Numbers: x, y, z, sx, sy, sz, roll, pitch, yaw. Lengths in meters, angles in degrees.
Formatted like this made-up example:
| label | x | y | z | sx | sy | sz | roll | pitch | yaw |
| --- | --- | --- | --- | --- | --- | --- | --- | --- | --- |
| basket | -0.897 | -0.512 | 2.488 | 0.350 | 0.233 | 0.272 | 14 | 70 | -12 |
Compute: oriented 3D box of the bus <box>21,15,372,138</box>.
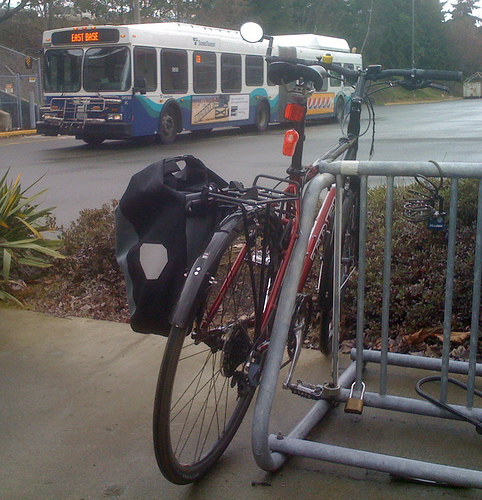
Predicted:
| label | x | y | z | sx | sy | sz | roll | pitch | yaw |
| --- | --- | --- | --- | --- | --- | --- | --- | --- | --- |
| bus | -0.816 | -6.934 | 21.658 | 3.956 | 4.036 | 15.018 | 13 | 21 | 30 |

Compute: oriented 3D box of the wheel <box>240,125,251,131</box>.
| label | x | y | z | sx | sy | sz | roll | pitch | yaw |
| --- | --- | --- | --- | --- | --- | --- | --- | --- | --- |
| wheel | 0.183 | -5.374 | 23.532 | 0.493 | 0.120 | 0.524 | -1 | 5 | 0 |

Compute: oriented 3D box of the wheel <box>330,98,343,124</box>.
| label | x | y | z | sx | sy | sz | roll | pitch | yaw |
| --- | --- | --- | --- | --- | --- | --- | --- | --- | --- |
| wheel | 4.609 | -6.789 | 25.990 | 0.614 | 1.286 | 1.772 | 0 | 10 | 9 |

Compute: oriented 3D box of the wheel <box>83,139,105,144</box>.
| label | x | y | z | sx | sy | sz | roll | pitch | yaw |
| --- | --- | --- | --- | --- | --- | --- | --- | --- | --- |
| wheel | -4.912 | -3.654 | 17.912 | 0.755 | 0.154 | 0.364 | 2 | 11 | 15 |

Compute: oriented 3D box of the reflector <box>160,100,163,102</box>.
| label | x | y | z | sx | sy | sz | roll | pitch | yaw |
| --- | --- | --- | --- | --- | --- | --- | --- | --- | --- |
| reflector | -2.515 | -4.694 | 16.760 | 0.101 | 0.070 | 0.100 | 1 | 5 | 1 |

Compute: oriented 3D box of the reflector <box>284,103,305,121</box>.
| label | x | y | z | sx | sy | sz | roll | pitch | yaw |
| --- | --- | --- | --- | --- | --- | --- | --- | --- | --- |
| reflector | 0.265 | -0.702 | 2.739 | 0.095 | 0.090 | 0.093 | 7 | 12 | 19 |

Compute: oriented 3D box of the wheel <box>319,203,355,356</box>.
| label | x | y | z | sx | sy | sz | roll | pitch | yaw |
| --- | --- | --- | --- | --- | --- | --- | --- | --- | --- |
| wheel | 0.459 | 0.186 | 3.359 | 0.368 | 0.809 | 0.451 | 5 | 15 | 10 |

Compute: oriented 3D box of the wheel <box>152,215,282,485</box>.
| label | x | y | z | sx | sy | sz | roll | pitch | yaw |
| --- | --- | --- | --- | --- | --- | --- | --- | --- | --- |
| wheel | -0.085 | 0.407 | 2.195 | 0.539 | 0.832 | 0.852 | 12 | 21 | 15 |

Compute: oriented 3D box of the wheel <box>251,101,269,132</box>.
| label | x | y | z | sx | sy | sz | roll | pitch | yaw |
| --- | --- | --- | --- | --- | --- | --- | --- | --- | --- |
| wheel | 0.765 | -5.514 | 22.057 | 0.589 | 1.244 | 1.206 | 1 | 10 | 13 |

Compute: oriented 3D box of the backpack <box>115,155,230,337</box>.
| label | x | y | z | sx | sy | sz | roll | pitch | yaw |
| --- | --- | --- | --- | --- | --- | --- | --- | --- | --- |
| backpack | -0.267 | -0.043 | 2.229 | 0.430 | 0.719 | 0.525 | 2 | 17 | 6 |

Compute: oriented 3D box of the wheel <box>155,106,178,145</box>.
| label | x | y | z | sx | sy | sz | roll | pitch | yaw |
| --- | --- | --- | --- | --- | --- | --- | --- | --- | --- |
| wheel | -2.495 | -4.057 | 17.334 | 0.423 | 1.148 | 1.174 | 8 | 2 | 24 |

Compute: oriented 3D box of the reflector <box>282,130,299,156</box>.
| label | x | y | z | sx | sy | sz | roll | pitch | yaw |
| --- | --- | --- | --- | --- | --- | --- | --- | --- | --- |
| reflector | 0.249 | -0.541 | 2.692 | 0.079 | 0.130 | 0.188 | 0 | 10 | 5 |
